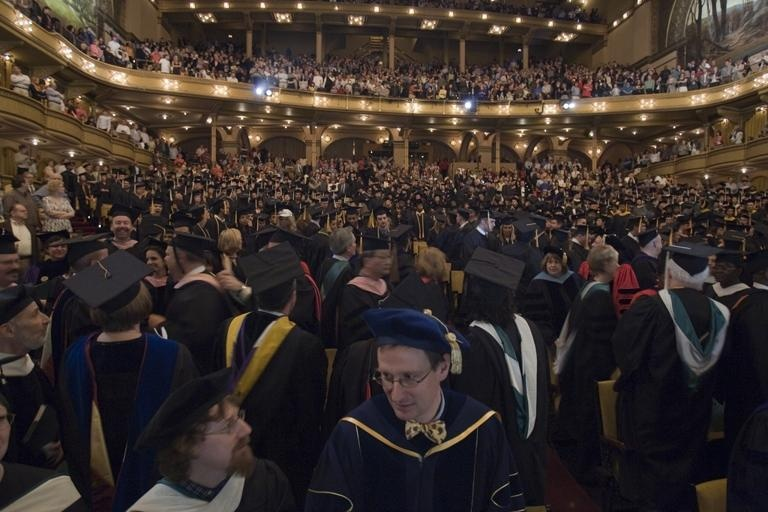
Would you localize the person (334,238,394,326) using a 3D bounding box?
[{"bbox_3d":[-0.315,0.382,9.410,0.515,1.520,0.938,10,10,-6],"label":"person"}]

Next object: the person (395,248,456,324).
[{"bbox_3d":[0.526,0.369,9.081,0.721,0.862,0.504,28,-21,-30],"label":"person"}]

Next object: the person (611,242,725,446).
[{"bbox_3d":[3.863,1.252,9.069,1.425,2.718,0.429,1,8,-1],"label":"person"}]

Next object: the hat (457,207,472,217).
[{"bbox_3d":[1.846,-0.963,15.416,0.273,0.248,0.589,2,7,7],"label":"hat"}]

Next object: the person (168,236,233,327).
[{"bbox_3d":[-2.543,0.389,9.123,0.495,0.875,0.979,-10,-11,-21],"label":"person"}]

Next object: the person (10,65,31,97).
[{"bbox_3d":[-11.092,-5.312,20.395,0.566,0.913,1.214,-3,8,-28],"label":"person"}]

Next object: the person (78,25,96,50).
[{"bbox_3d":[-11.428,-8.330,25.591,0.646,1.080,1.662,-2,8,-23],"label":"person"}]

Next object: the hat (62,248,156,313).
[{"bbox_3d":[-3.355,0.284,8.132,0.711,0.467,0.733,27,52,20],"label":"hat"}]

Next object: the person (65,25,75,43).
[{"bbox_3d":[-11.400,-8.014,24.189,0.320,0.663,1.094,-2,8,-19],"label":"person"}]

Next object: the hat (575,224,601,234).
[{"bbox_3d":[4.152,-0.518,13.562,0.620,0.201,0.431,1,7,1],"label":"hat"}]

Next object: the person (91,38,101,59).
[{"bbox_3d":[-11.067,-7.872,25.640,0.412,0.746,0.809,-2,8,-22],"label":"person"}]

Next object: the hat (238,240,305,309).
[{"bbox_3d":[-1.438,0.223,8.501,0.704,0.757,0.775,-14,52,-12],"label":"hat"}]

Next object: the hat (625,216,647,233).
[{"bbox_3d":[5.259,-0.638,13.961,0.293,0.395,1.270,4,7,21],"label":"hat"}]

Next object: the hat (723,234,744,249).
[{"bbox_3d":[5.608,-0.215,10.743,0.298,0.265,0.271,2,-1,15],"label":"hat"}]

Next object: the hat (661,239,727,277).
[{"bbox_3d":[4.229,0.059,9.155,0.679,0.365,0.700,-2,17,35],"label":"hat"}]

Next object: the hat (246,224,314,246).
[{"bbox_3d":[-1.783,-0.349,11.742,0.597,0.260,0.619,1,1,37],"label":"hat"}]

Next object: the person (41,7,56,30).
[{"bbox_3d":[-11.437,-7.945,22.770,0.258,0.625,0.846,2,7,3],"label":"person"}]

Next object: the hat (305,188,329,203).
[{"bbox_3d":[-2.353,-2.037,22.955,1.096,0.284,1.136,5,14,14],"label":"hat"}]

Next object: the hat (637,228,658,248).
[{"bbox_3d":[4.411,-0.292,11.203,0.277,0.234,0.281,-5,5,1],"label":"hat"}]

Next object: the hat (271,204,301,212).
[{"bbox_3d":[-2.264,-1.097,15.437,0.563,0.156,0.538,1,2,-7],"label":"hat"}]
